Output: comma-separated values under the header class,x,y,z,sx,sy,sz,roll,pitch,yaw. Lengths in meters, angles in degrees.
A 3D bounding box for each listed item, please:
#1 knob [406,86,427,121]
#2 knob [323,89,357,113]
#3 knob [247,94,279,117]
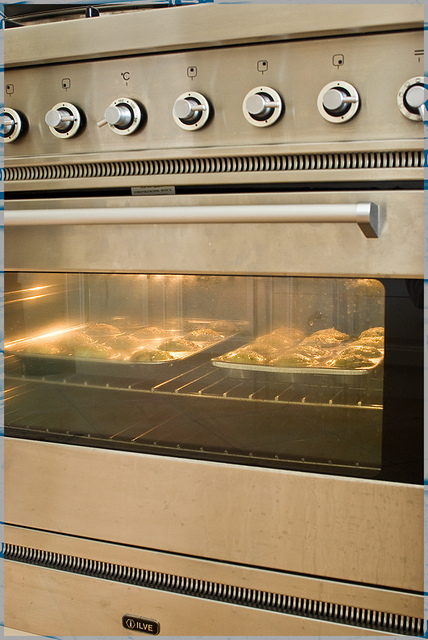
class,x,y,z,sx,sy,sz,roll,pitch,yaw
knob,0.242,-0.256,0.641,0.021,0.029,0.007,-9,-1,18
knob,0.154,-0.273,0.666,0.038,0.027,0.013,6,14,12
knob,0.064,-0.281,0.707,0.038,0.027,0.013,6,11,0
